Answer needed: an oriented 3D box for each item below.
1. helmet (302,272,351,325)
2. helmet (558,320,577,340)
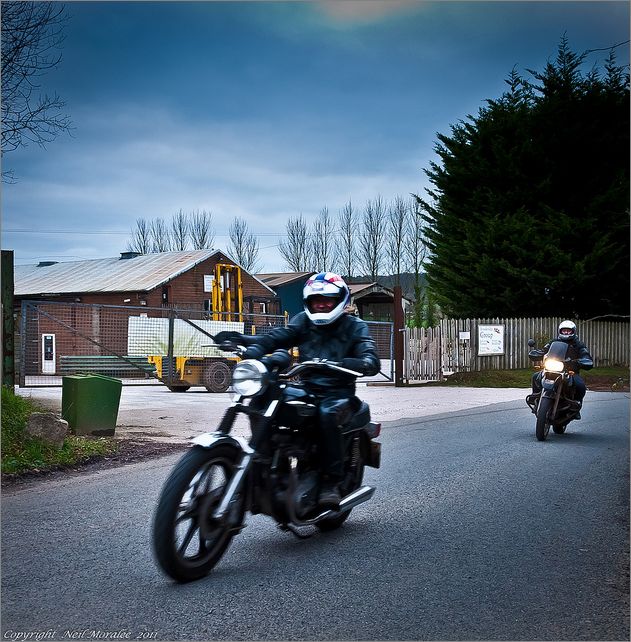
[{"bbox_3d":[0.085,-0.168,5.057,0.354,0.335,0.407,-3,-2,14],"label":"helmet"},{"bbox_3d":[3.965,0.143,10.569,0.268,0.312,0.362,0,-2,12],"label":"helmet"}]
